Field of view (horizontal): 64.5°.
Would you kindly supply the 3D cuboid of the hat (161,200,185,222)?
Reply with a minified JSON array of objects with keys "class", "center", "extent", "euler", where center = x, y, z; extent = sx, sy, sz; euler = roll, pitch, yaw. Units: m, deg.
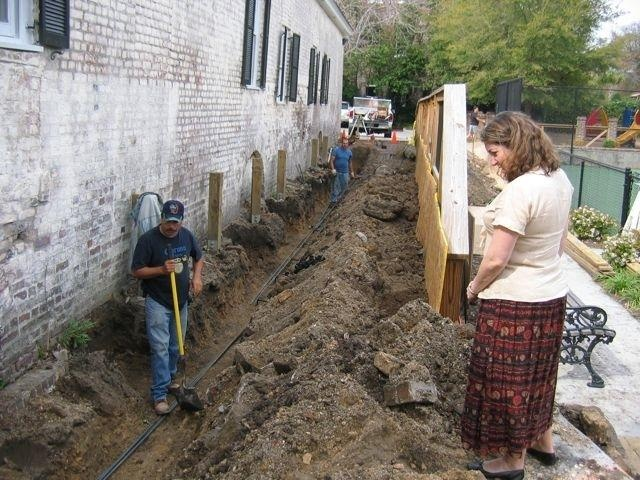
[{"class":"hat","center":[-1.722,-0.329,5.922],"extent":[0.237,0.255,0.243],"euler":[-11,22,-31]}]

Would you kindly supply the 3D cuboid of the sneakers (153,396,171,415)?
[{"class":"sneakers","center":[-1.892,2.003,6.077],"extent":[0.192,0.136,0.237],"euler":[-6,21,-20]}]

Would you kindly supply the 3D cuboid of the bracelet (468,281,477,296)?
[{"class":"bracelet","center":[1.113,0.350,3.694],"extent":[0.036,0.098,0.070],"euler":[-1,13,-33]}]

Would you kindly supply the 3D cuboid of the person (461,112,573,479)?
[{"class":"person","center":[1.433,0.443,3.647],"extent":[0.725,2.547,0.723],"euler":[0,17,-3]}]

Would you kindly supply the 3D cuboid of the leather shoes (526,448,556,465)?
[{"class":"leather shoes","center":[1.722,1.663,3.947],"extent":[0.210,0.099,0.078],"euler":[9,17,44]}]

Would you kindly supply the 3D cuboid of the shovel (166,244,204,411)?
[{"class":"shovel","center":[-1.704,1.213,6.250],"extent":[0.317,1.776,1.345],"euler":[-5,19,-18]}]

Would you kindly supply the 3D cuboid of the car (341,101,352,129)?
[{"class":"car","center":[1.964,-9.148,37.769],"extent":[1.050,0.949,2.565],"euler":[2,21,7]}]

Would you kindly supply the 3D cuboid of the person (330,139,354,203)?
[{"class":"person","center":[0.663,-2.238,16.205],"extent":[0.623,1.994,1.118],"euler":[1,18,0]}]

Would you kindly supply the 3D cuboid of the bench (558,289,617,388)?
[{"class":"bench","center":[3.304,1.271,6.258],"extent":[0.412,0.564,1.178],"euler":[-2,9,6]}]

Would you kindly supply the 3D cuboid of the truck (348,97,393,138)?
[{"class":"truck","center":[3.524,-7.573,35.824],"extent":[2.651,3.152,5.280],"euler":[2,-10,1]}]
